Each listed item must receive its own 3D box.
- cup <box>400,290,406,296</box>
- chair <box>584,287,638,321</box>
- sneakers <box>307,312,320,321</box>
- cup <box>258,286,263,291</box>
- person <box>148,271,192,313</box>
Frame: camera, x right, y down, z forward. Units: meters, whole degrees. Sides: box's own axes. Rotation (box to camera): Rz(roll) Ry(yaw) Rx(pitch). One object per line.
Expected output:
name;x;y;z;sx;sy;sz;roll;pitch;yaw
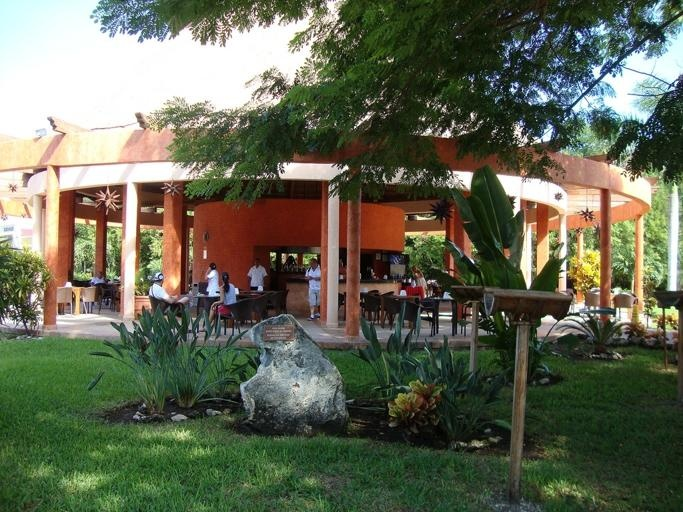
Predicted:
cup;1.507;0.934;13.918;0.125;0.178;0.183;1;-24;2
chair;7.245;1.309;15.263;0.870;1.390;0.990;-5;7;-37
sneakers;-0.720;1.618;14.846;0.127;0.304;0.402;-3;-10;29
cup;-2.201;0.899;15.307;0.099;0.211;0.104;-7;-19;-2
person;-3.624;0.703;11.699;0.656;0.740;1.018;2;-6;-17
